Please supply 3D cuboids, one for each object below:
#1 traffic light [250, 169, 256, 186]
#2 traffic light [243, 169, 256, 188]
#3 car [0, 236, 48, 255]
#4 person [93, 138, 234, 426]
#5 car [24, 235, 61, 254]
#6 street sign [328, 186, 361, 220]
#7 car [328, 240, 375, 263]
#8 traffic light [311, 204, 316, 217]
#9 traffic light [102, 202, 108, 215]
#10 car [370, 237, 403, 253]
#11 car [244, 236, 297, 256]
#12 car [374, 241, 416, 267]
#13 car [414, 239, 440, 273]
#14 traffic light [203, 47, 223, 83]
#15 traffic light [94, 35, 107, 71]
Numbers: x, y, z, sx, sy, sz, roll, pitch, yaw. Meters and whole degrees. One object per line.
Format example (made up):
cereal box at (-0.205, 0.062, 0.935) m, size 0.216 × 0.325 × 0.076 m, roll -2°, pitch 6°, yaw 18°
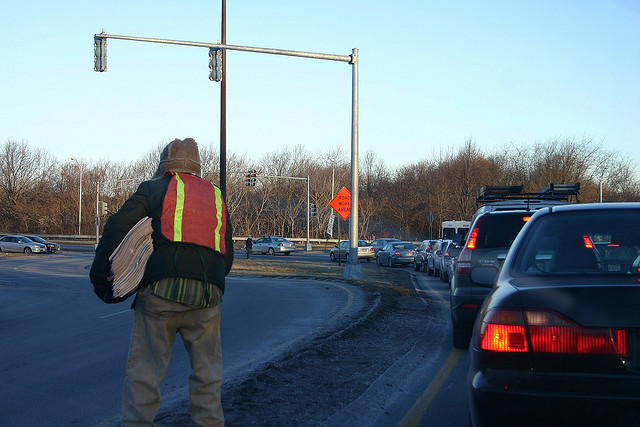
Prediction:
traffic light at (-4.049, -2.167, 38.265) m, size 0.277 × 0.941 × 0.790 m, roll 2°, pitch 0°, yaw -6°
traffic light at (-4.184, -2.190, 38.920) m, size 0.553 × 1.035 × 2.132 m, roll 2°, pitch 0°, yaw -8°
car at (-20.092, 2.088, 43.217) m, size 3.329 × 1.258 × 1.233 m, roll 2°, pitch 0°, yaw 24°
person at (-1.369, 0.610, 5.749) m, size 1.135 × 2.574 × 0.447 m, roll 2°, pitch 0°, yaw -10°
car at (-20.817, 2.296, 48.154) m, size 1.954 × 0.647 × 0.912 m, roll 13°, pitch 3°, yaw 20°
street sign at (0.672, -0.361, 20.747) m, size 0.797 × 0.999 × 0.475 m, roll 2°, pitch 0°, yaw 26°
car at (1.656, 2.144, 37.969) m, size 1.520 × 1.160 × 2.532 m, roll -1°, pitch 5°, yaw -31°
traffic light at (-0.497, -0.290, 47.319) m, size 0.518 × 0.826 × 0.312 m, roll -2°, pitch -10°, yaw -5°
traffic light at (-15.432, -0.451, 46.007) m, size 0.223 × 0.829 × 2.414 m, roll 2°, pitch 0°, yaw -16°
car at (4.190, 2.127, 45.439) m, size 1.077 × 0.891 × 2.398 m, roll -2°, pitch 5°, yaw -26°
car at (-3.465, 2.422, 48.621) m, size 3.267 × 1.381 × 1.376 m, roll 2°, pitch 0°, yaw 45°
car at (3.856, 2.048, 32.519) m, size 1.682 × 1.215 × 2.429 m, roll 2°, pitch 0°, yaw 0°
car at (4.682, 1.829, 28.326) m, size 0.745 × 0.920 × 1.602 m, roll -1°, pitch 4°, yaw -3°
traffic light at (-2.915, -4.088, 17.750) m, size 0.338 × 1.001 × 1.390 m, roll 2°, pitch 0°, yaw -5°
traffic light at (-5.844, -4.264, 17.065) m, size 0.275 × 0.978 × 0.142 m, roll 2°, pitch 0°, yaw 0°
